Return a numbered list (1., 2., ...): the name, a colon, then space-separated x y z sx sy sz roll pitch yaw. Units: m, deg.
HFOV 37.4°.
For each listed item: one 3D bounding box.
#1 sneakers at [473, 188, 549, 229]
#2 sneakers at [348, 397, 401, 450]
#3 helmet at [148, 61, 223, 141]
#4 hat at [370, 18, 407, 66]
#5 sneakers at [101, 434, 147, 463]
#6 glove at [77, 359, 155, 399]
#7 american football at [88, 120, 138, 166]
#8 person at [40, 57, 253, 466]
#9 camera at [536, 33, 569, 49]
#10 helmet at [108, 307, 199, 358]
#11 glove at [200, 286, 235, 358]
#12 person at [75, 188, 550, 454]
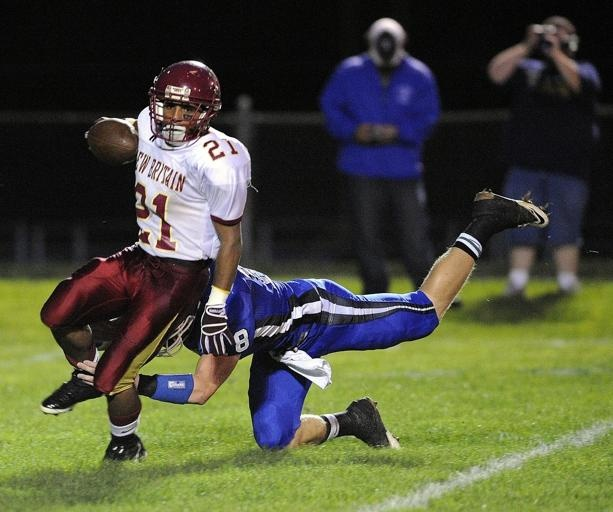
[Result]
1. sneakers: 0.949 -0.213 4.266 0.417 0.126 0.147 5 -7 -35
2. sneakers: 0.283 0.700 3.791 0.217 0.182 0.138 -1 6 5
3. helmet: -0.475 -0.625 3.685 0.313 0.254 0.326 13 20 17
4. hat: 0.567 -1.507 6.344 0.267 0.352 0.245 -1 6 3
5. sneakers: -0.708 0.755 3.603 0.106 0.088 0.170 8 12 42
6. glove: -0.762 0.498 3.637 0.267 0.180 0.151 3 48 -5
7. american football: -0.786 -0.488 3.797 0.255 0.154 0.178 18 18 11
8. person: -0.641 0.003 3.616 0.859 1.593 0.388 -2 6 -2
9. camera: 1.476 -1.300 5.424 0.130 0.035 0.118 12 -2 -38
10. helmet: -0.604 0.295 3.574 0.136 0.194 0.159 46 -15 27
11. glove: -0.346 0.256 3.516 0.130 0.280 0.112 -2 6 -5
12. person: -0.002 0.326 3.768 2.542 1.006 0.812 -5 -4 -32
